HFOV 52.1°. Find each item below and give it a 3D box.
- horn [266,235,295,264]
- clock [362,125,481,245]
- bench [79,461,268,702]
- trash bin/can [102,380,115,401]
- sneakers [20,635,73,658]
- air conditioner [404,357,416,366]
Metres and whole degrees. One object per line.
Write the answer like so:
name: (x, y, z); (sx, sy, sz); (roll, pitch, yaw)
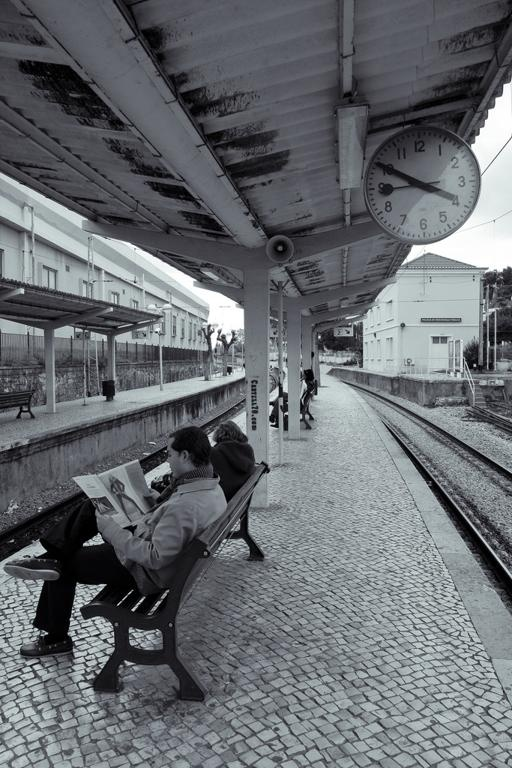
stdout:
horn: (0.260, -1.541, 6.039); (0.298, 0.329, 0.394); (-2, -1, 7)
clock: (1.167, -1.408, 3.711); (0.724, 0.816, 0.260); (-2, 0, 22)
bench: (-0.460, 1.126, 2.844); (0.624, 1.026, 1.015); (-2, -1, 6)
trash bin/can: (-5.742, 0.254, 20.340); (0.369, 0.834, 0.693); (-2, 0, -8)
sneakers: (-1.141, 1.455, 2.914); (0.279, 0.116, 0.103); (5, -11, -10)
air conditioner: (10.874, -1.528, 37.656); (0.680, 0.626, 1.830); (-2, -1, 16)
